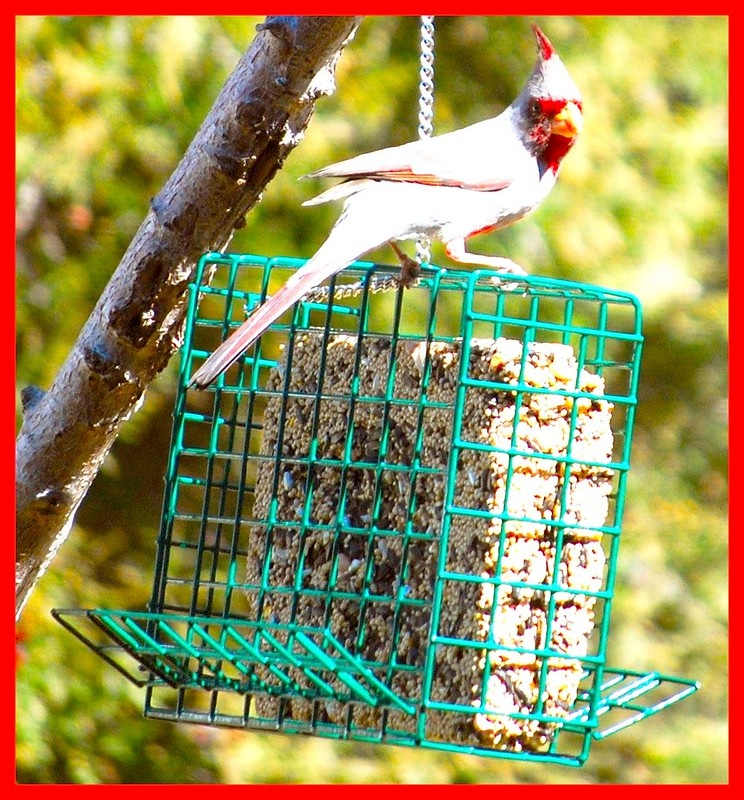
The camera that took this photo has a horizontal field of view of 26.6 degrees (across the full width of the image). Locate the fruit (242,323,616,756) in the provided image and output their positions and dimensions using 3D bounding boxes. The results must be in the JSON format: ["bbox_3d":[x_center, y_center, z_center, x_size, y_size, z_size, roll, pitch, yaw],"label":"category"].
[{"bbox_3d":[0.141,0.421,5.191,1.209,1.348,0.624,2,-18,27],"label":"fruit"}]
